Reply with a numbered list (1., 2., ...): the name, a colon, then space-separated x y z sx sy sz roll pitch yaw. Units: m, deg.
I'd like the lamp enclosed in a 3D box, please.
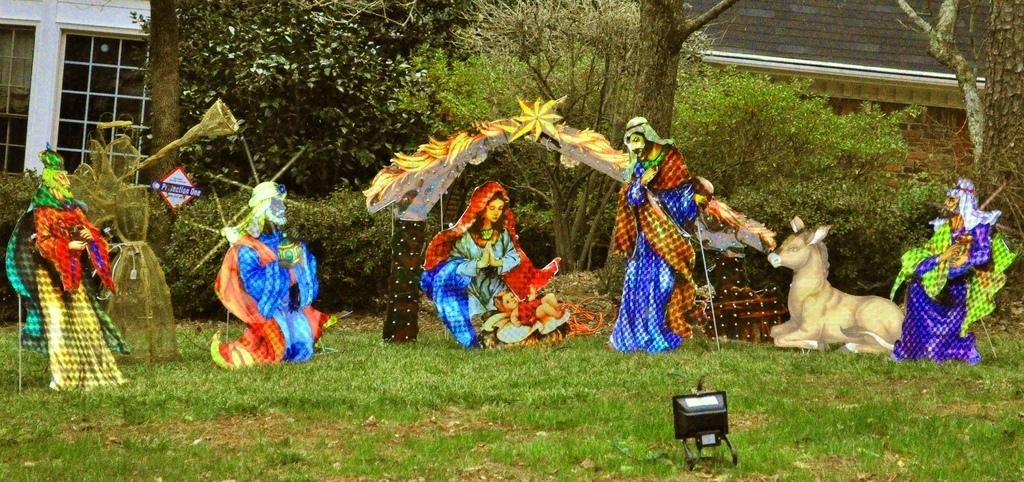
1. lamp: 3.807 3.779 35.733 1.217 1.612 0.583 0 1 4
